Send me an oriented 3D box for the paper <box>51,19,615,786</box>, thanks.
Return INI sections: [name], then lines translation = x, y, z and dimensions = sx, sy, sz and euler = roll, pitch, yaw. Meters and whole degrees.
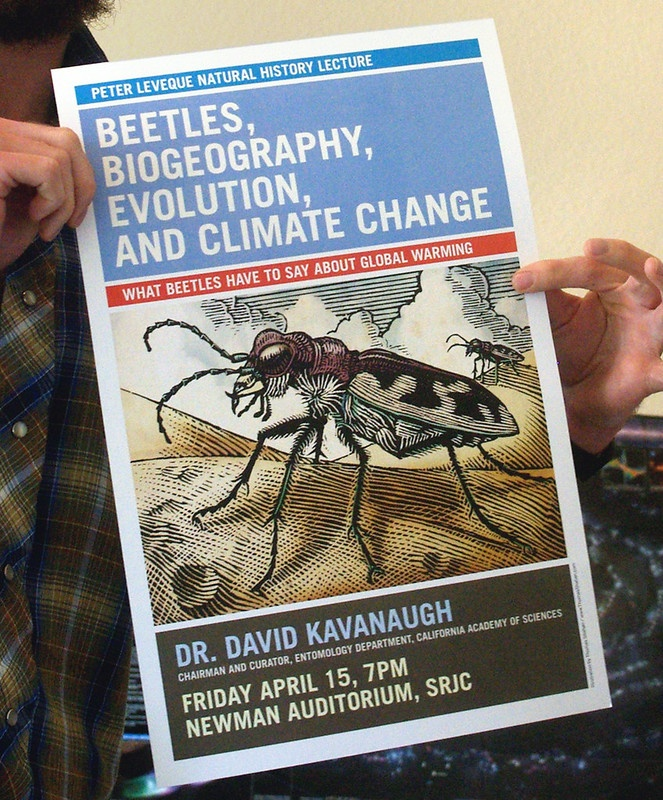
[paper]
translation = 0.002, -0.017, 0.937
dimensions = 0.560, 0.710, 0.599
euler = -9, 36, 2
